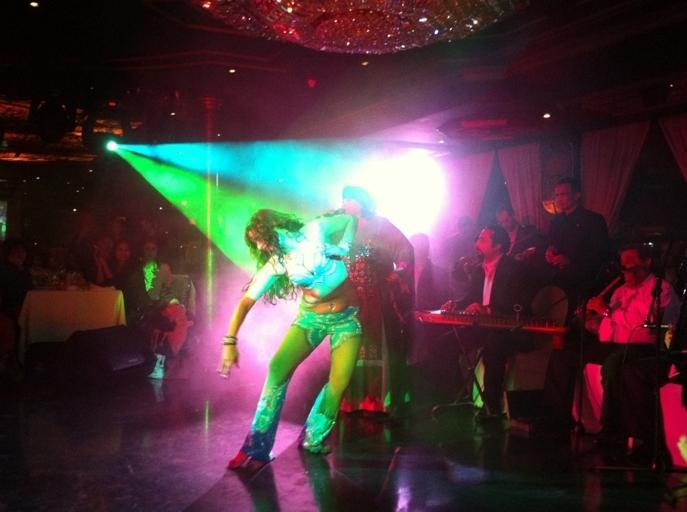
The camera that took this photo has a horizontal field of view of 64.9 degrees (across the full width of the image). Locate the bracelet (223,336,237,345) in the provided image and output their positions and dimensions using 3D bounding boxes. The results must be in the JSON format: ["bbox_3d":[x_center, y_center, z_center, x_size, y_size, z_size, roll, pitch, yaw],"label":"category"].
[{"bbox_3d":[-0.872,0.649,4.148,0.082,0.064,0.083,-1,0,31],"label":"bracelet"}]

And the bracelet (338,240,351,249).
[{"bbox_3d":[0.016,-0.093,4.447,0.079,0.057,0.078,4,-3,-8],"label":"bracelet"}]
